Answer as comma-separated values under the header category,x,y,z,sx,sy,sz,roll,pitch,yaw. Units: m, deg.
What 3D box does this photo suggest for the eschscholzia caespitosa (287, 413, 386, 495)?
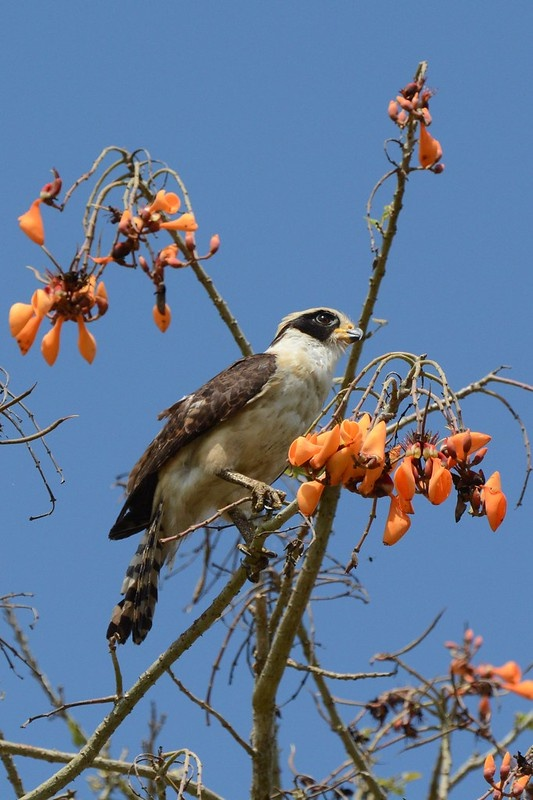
category,x,y,z,sx,sy,sz,roll,pitch,yaw
eschscholzia caespitosa,0.262,0.171,4.692,0.298,0.260,0.216,-1,-50,22
